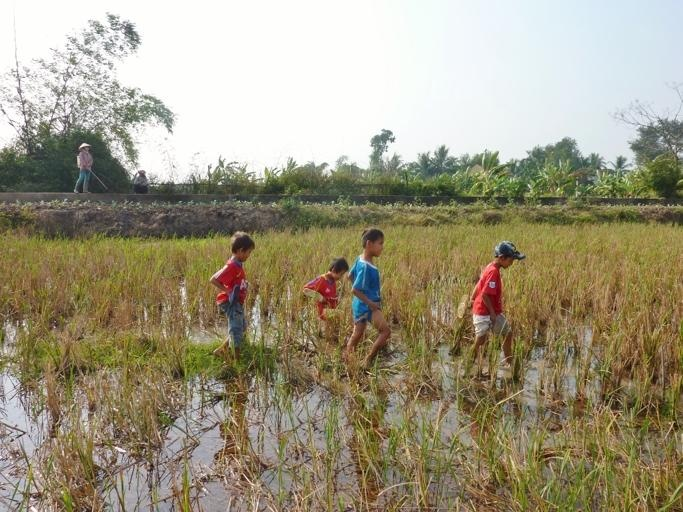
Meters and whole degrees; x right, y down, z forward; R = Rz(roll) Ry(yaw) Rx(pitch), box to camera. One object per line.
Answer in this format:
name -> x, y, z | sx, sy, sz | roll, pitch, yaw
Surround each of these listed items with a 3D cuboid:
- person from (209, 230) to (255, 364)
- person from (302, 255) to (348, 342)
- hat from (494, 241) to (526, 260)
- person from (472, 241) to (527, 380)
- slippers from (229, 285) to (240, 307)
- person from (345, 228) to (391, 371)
person -> -1.215, 0.436, 7.269 | 0.451, 1.424, 0.436 | 0, 4, 2
person -> -0.202, 0.510, 8.078 | 0.523, 1.050, 0.945 | 0, 4, -2
hat -> 1.876, -0.055, 7.146 | 0.308, 0.212, 0.229 | -1, 11, 0
person -> 1.742, 0.527, 7.253 | 0.563, 1.380, 0.968 | 1, 4, 12
slippers -> -1.172, 0.432, 7.072 | 0.061, 0.294, 0.106 | 8, 13, -4
person -> 0.303, 0.413, 7.321 | 0.465, 1.485, 0.688 | 0, 4, 2
